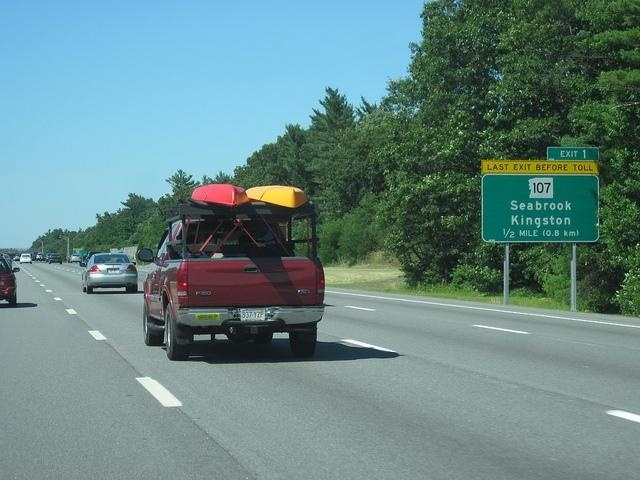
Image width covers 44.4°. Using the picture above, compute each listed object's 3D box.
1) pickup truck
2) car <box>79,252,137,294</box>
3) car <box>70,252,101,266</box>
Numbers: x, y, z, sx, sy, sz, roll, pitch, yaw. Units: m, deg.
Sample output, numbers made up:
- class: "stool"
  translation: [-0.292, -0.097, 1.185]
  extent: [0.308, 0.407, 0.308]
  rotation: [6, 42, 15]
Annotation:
- class: "pickup truck"
  translation: [-1.505, 0.745, 13.784]
  extent: [2.857, 2.642, 2.538]
  rotation: [-1, -2, -11]
- class: "car"
  translation: [-8.697, 1.333, 32.451]
  extent: [1.899, 1.703, 1.945]
  rotation: [-1, -2, -31]
- class: "car"
  translation: [-22.469, 1.692, 73.937]
  extent: [1.627, 1.026, 2.850]
  rotation: [2, -4, -30]
